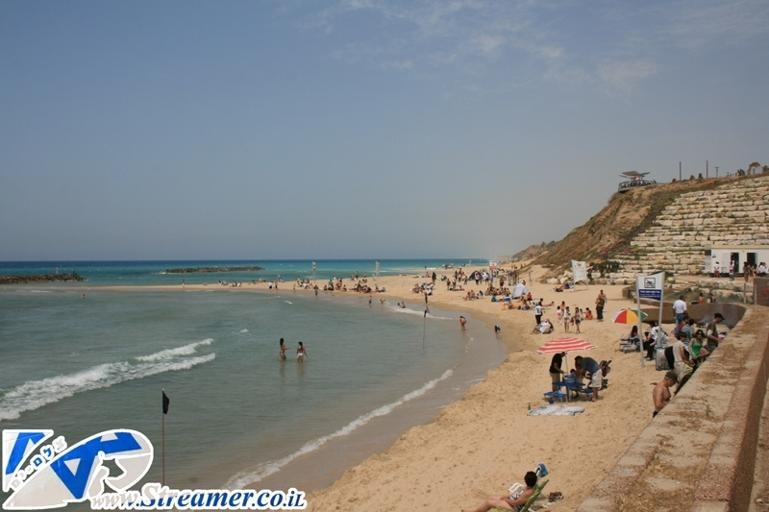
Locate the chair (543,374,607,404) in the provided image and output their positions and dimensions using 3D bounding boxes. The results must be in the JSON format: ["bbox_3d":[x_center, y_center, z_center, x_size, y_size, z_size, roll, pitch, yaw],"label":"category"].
[{"bbox_3d":[7.052,5.191,21.673,1.672,1.091,0.793,0,0,19],"label":"chair"}]

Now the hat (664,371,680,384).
[{"bbox_3d":[9.188,3.984,18.122,0.305,0.437,0.924,0,-1,41],"label":"hat"}]
